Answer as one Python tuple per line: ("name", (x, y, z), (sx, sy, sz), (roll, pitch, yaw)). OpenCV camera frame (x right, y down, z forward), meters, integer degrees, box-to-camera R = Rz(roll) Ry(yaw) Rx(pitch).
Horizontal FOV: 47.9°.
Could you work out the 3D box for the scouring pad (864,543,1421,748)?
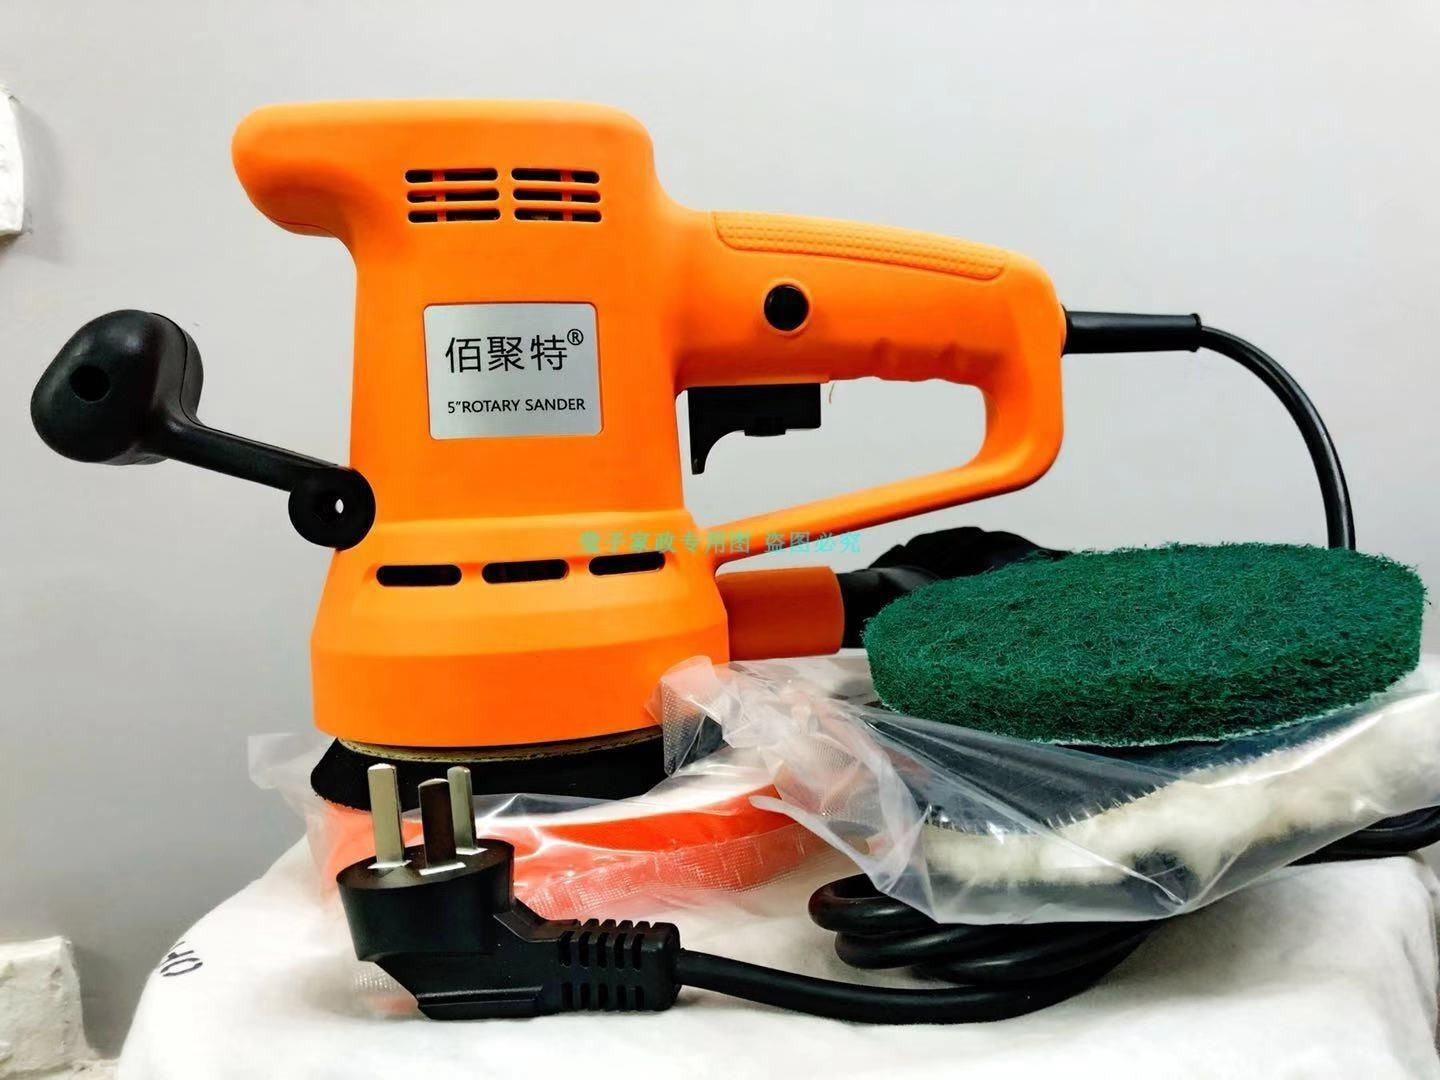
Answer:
("scouring pad", (0.283, 0.065, 1.069), (0.318, 0.054, 0.291), (-10, 13, -2))
